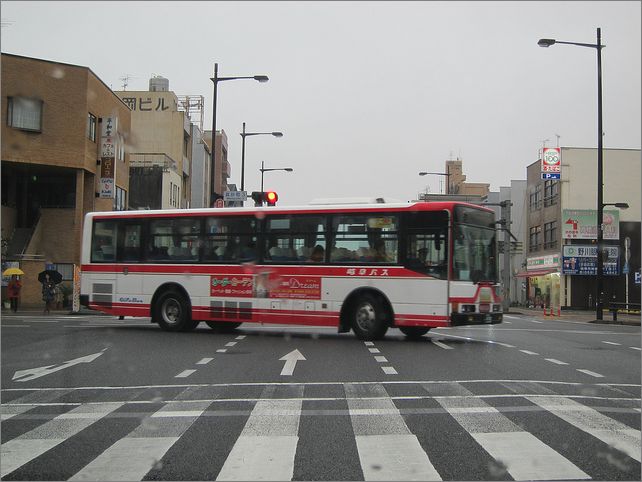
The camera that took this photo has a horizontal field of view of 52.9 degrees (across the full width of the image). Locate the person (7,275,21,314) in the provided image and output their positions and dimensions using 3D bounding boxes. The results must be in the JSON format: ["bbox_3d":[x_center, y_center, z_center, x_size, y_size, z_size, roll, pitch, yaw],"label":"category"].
[{"bbox_3d":[-14.137,2.392,29.704,0.473,1.664,2.899,1,-2,-26],"label":"person"}]

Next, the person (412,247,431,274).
[{"bbox_3d":[2.435,0.459,15.850,0.471,1.044,0.519,1,-2,-4],"label":"person"}]

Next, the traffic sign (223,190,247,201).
[{"bbox_3d":[-3.526,-1.875,26.438,1.016,0.393,0.708,0,-2,6],"label":"traffic sign"}]

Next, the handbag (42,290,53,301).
[{"bbox_3d":[-12.102,2.419,28.813,0.462,0.563,0.371,-5,-9,45],"label":"handbag"}]
